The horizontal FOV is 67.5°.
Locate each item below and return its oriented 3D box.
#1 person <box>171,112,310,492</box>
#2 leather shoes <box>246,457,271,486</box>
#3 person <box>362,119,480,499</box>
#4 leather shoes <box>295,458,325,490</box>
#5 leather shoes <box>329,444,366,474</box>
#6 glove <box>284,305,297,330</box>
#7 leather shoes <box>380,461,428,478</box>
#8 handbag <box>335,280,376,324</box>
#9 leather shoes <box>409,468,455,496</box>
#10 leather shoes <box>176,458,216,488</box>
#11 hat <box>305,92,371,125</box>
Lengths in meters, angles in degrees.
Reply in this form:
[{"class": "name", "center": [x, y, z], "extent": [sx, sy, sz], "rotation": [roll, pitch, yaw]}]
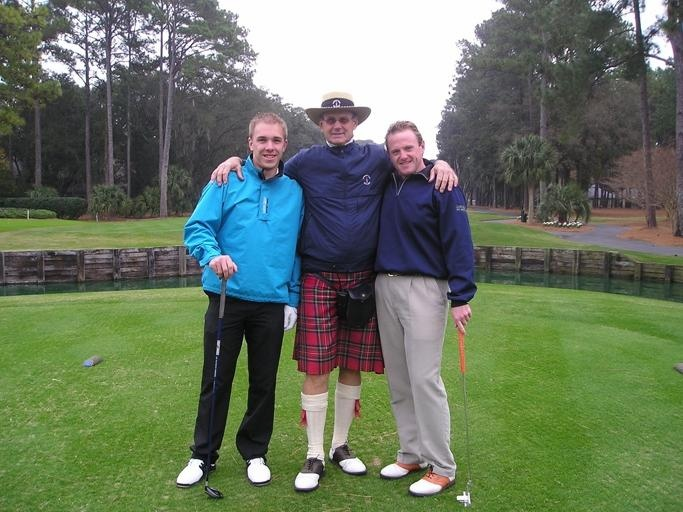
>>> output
[{"class": "person", "center": [-0.745, 0.245, 3.988], "extent": [1.122, 2.684, 0.809], "rotation": [-6, 13, -30]}, {"class": "leather shoes", "center": [-0.629, 1.595, 3.836], "extent": [0.167, 0.100, 0.252], "rotation": [-5, 13, -24]}, {"class": "person", "center": [0.606, 0.318, 3.984], "extent": [0.785, 2.672, 0.971], "rotation": [-8, 13, -35]}, {"class": "leather shoes", "center": [-0.251, 1.607, 3.791], "extent": [0.170, 0.153, 0.269], "rotation": [3, 12, 13]}, {"class": "leather shoes", "center": [0.055, 1.586, 4.028], "extent": [0.185, 0.149, 0.354], "rotation": [-6, 13, -27]}, {"class": "glove", "center": [-0.432, 0.493, 4.192], "extent": [0.116, 0.177, 0.057], "rotation": [5, -12, -16]}, {"class": "leather shoes", "center": [0.452, 1.638, 3.987], "extent": [0.291, 0.136, 0.122], "rotation": [3, -2, -21]}, {"class": "handbag", "center": [0.135, 0.383, 4.196], "extent": [0.298, 0.345, 0.188], "rotation": [-9, 15, -33]}, {"class": "leather shoes", "center": [0.641, 1.652, 3.751], "extent": [0.309, 0.136, 0.136], "rotation": [8, -15, -42]}, {"class": "leather shoes", "center": [-1.089, 1.575, 3.746], "extent": [0.115, 0.106, 0.255], "rotation": [0, -12, 9]}, {"class": "hat", "center": [0.043, -1.297, 4.364], "extent": [0.424, 0.161, 0.468], "rotation": [-3, -2, 37]}]
